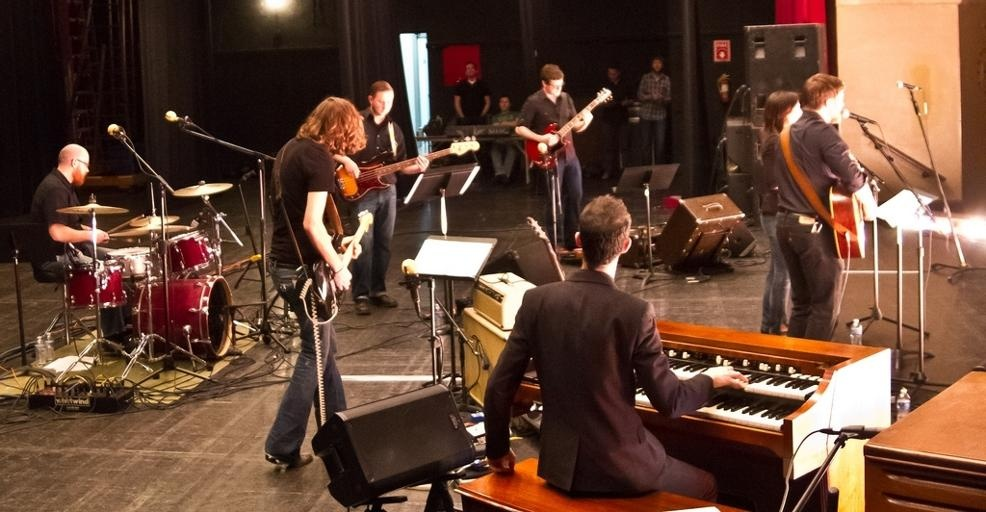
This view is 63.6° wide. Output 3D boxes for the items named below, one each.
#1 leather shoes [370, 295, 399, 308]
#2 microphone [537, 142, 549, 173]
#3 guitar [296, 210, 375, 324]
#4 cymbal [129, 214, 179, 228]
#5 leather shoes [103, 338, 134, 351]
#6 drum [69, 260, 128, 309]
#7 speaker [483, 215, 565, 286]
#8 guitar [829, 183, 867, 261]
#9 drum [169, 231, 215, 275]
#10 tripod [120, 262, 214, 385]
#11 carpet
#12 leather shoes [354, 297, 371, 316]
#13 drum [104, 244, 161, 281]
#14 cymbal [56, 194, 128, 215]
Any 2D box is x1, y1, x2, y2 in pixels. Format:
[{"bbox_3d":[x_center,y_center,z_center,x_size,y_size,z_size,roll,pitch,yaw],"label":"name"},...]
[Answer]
[{"bbox_3d":[-1.482,0.604,10.734,0.364,0.142,0.167,-1,4,5],"label":"leather shoes"},{"bbox_3d":[0.733,-1.458,11.649,0.108,0.315,0.226,-11,2,-29],"label":"microphone"},{"bbox_3d":[-1.685,0.105,8.449,0.229,0.597,1.537,-12,36,25],"label":"guitar"},{"bbox_3d":[-4.029,-0.416,9.382,0.330,0.061,0.309,-2,15,4],"label":"cymbal"},{"bbox_3d":[-4.526,1.057,9.619,0.299,0.110,0.280,1,2,-15],"label":"leather shoes"},{"bbox_3d":[-4.588,0.299,9.194,0.586,0.385,0.554,-1,5,0],"label":"drum"},{"bbox_3d":[0.392,-0.069,9.980,0.561,0.549,0.984,-35,-10,16],"label":"speaker"},{"bbox_3d":[3.606,-0.381,8.147,0.207,0.590,0.612,-5,28,27],"label":"guitar"},{"bbox_3d":[-3.600,-0.055,9.511,0.500,0.333,0.486,-14,1,0],"label":"drum"},{"bbox_3d":[-3.849,0.766,9.791,1.217,1.236,1.407,4,2,12],"label":"tripod"},{"bbox_3d":[-4.327,1.273,9.313,2.737,0.560,1.172,-4,11,-1],"label":"carpet"},{"bbox_3d":[-1.757,0.664,10.587,0.251,0.254,0.639,0,-2,-12],"label":"leather shoes"},{"bbox_3d":[-4.313,0.054,9.532,0.481,0.173,0.479,2,15,-1],"label":"drum"},{"bbox_3d":[-4.719,-0.542,9.243,0.649,0.236,0.651,-2,2,36],"label":"cymbal"}]
